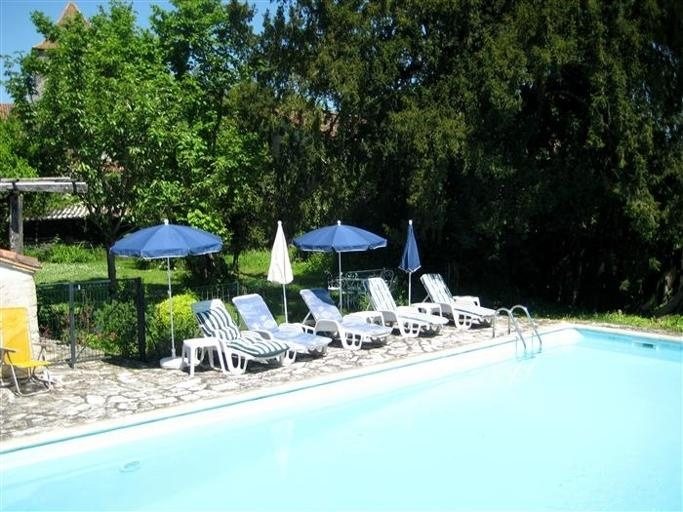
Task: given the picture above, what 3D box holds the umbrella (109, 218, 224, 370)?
[{"bbox_3d":[-4.561,1.031,20.040,2.688,4.002,3.155,3,8,13],"label":"umbrella"}]
